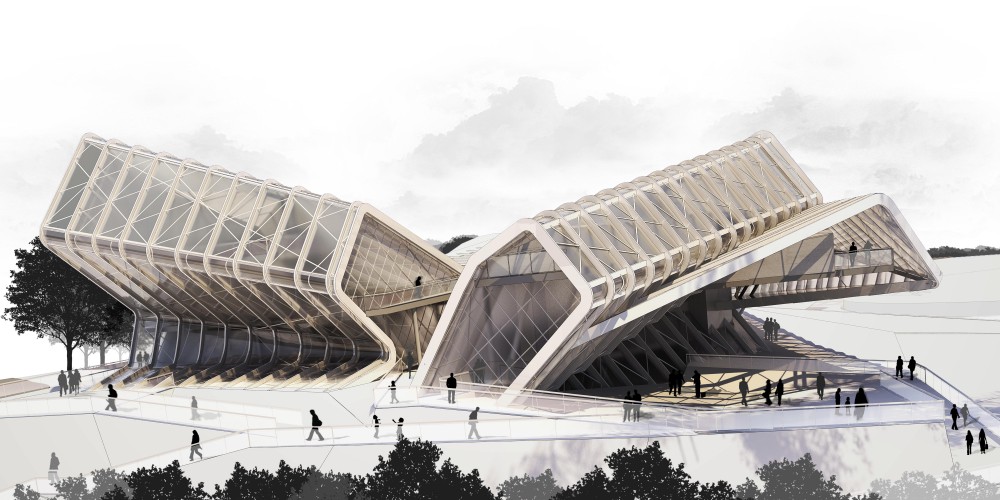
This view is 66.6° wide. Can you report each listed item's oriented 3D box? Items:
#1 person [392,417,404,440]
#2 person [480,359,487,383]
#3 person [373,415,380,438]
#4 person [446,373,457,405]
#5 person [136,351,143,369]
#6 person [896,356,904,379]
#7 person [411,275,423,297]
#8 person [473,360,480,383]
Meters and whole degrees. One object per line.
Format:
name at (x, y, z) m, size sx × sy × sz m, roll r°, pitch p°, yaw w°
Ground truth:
person at (-5.966, 10.722, 45.219) m, size 0.506 × 1.347 × 1.037 m, roll 12°, pitch -29°, yaw -28°
person at (-1.152, 8.141, 50.707) m, size 0.458 × 1.312 × 0.491 m, roll -3°, pitch -26°, yaw 1°
person at (-7.474, 10.660, 45.699) m, size 0.425 × 1.388 × 0.611 m, roll 3°, pitch -26°, yaw -12°
person at (-3.124, 8.943, 48.356) m, size 0.638 × 1.638 × 0.555 m, roll 0°, pitch -26°, yaw -7°
person at (-30.615, 9.236, 64.582) m, size 0.654 × 1.361 × 0.246 m, roll -13°, pitch -28°, yaw 20°
person at (27.312, 8.111, 52.089) m, size 0.583 × 1.461 × 1.184 m, roll -14°, pitch -27°, yaw 21°
person at (-6.669, 2.944, 61.369) m, size 0.790 × 1.918 × 0.686 m, roll 0°, pitch -26°, yaw -6°
person at (-1.508, 8.119, 50.726) m, size 0.587 × 1.380 × 0.523 m, roll -1°, pitch -26°, yaw -4°
